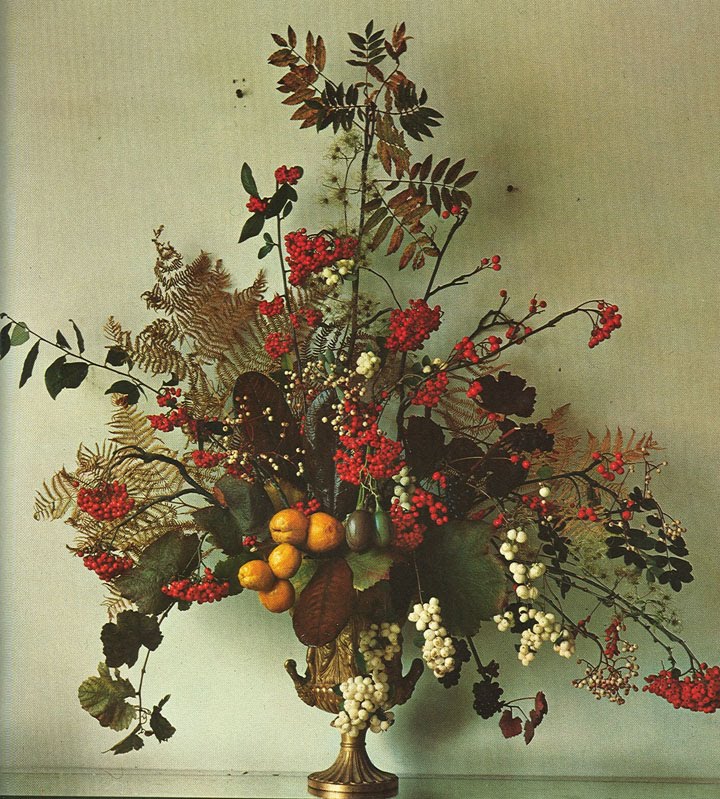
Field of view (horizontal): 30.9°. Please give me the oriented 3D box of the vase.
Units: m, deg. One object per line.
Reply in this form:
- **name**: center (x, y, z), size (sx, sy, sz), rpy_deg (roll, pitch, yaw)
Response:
- **vase**: center (-0.026, 0.461, 1.927), size (0.312, 0.261, 0.258), rpy_deg (0, -105, -1)

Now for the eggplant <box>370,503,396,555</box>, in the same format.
- **eggplant**: center (0.030, 0.187, 1.859), size (0.039, 0.027, 0.057), rpy_deg (-5, -88, 3)

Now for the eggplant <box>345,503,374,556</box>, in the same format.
- **eggplant**: center (-0.002, 0.185, 1.856), size (0.051, 0.037, 0.054), rpy_deg (2, -95, 6)
